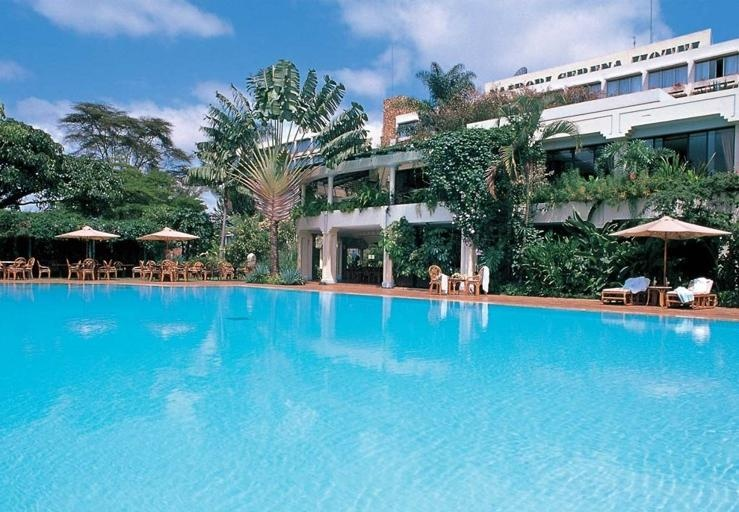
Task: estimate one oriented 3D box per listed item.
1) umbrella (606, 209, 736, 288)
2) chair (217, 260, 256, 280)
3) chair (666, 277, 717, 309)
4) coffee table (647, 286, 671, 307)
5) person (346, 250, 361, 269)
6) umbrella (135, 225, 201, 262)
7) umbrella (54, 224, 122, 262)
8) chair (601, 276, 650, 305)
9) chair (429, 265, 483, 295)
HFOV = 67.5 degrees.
[{"bbox_3d":[9.045,-0.071,16.753,1.938,2.184,2.034,-4,14,-20],"label":"umbrella"},{"bbox_3d":[-7.005,0.834,28.283,1.311,0.991,1.355,2,-2,-21],"label":"chair"},{"bbox_3d":[9.525,1.148,16.400,1.368,0.916,0.869,3,-6,-36],"label":"chair"},{"bbox_3d":[8.848,1.238,17.021,0.651,0.602,0.637,4,-3,-44],"label":"coffee table"},{"bbox_3d":[-0.996,0.206,35.102,1.076,1.089,1.189,4,-4,-33],"label":"person"},{"bbox_3d":[-9.948,-0.923,27.146,2.229,1.672,2.304,0,-3,-19],"label":"umbrella"},{"bbox_3d":[-13.534,-0.940,26.545,2.234,1.748,2.321,-4,-3,35],"label":"umbrella"},{"bbox_3d":[8.023,1.135,17.390,1.176,0.772,0.880,2,-3,-23],"label":"chair"},{"bbox_3d":[3.276,0.943,21.098,1.603,0.894,1.045,-1,3,-3],"label":"chair"}]
